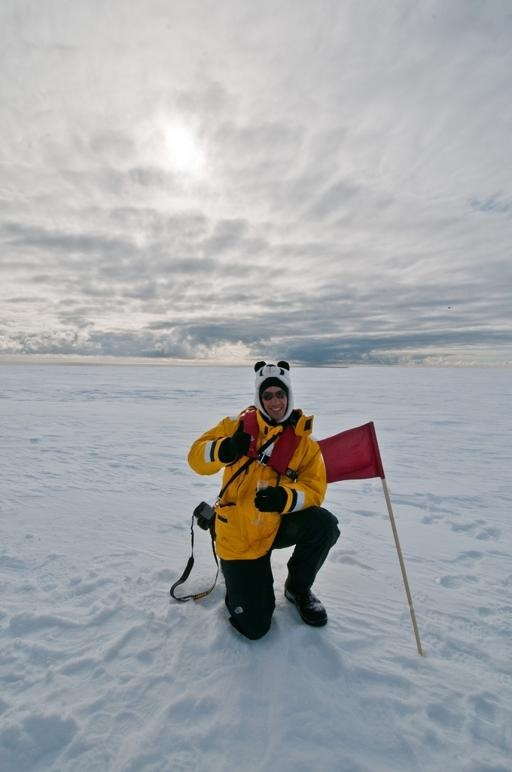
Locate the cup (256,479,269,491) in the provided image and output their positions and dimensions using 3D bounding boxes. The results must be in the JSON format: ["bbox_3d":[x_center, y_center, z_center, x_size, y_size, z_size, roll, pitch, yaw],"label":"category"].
[{"bbox_3d":[0.034,0.559,3.078,0.063,0.063,0.058,6,3,0],"label":"cup"}]

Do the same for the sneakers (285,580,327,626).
[{"bbox_3d":[0.313,1.320,3.316,0.153,0.138,0.391,-3,13,-19],"label":"sneakers"}]

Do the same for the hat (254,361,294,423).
[{"bbox_3d":[0.113,0.033,3.486,0.246,0.423,0.241,2,-26,-3],"label":"hat"}]

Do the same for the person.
[{"bbox_3d":[0.054,0.639,3.289,0.842,1.461,0.803,-3,14,-18],"label":"person"}]
